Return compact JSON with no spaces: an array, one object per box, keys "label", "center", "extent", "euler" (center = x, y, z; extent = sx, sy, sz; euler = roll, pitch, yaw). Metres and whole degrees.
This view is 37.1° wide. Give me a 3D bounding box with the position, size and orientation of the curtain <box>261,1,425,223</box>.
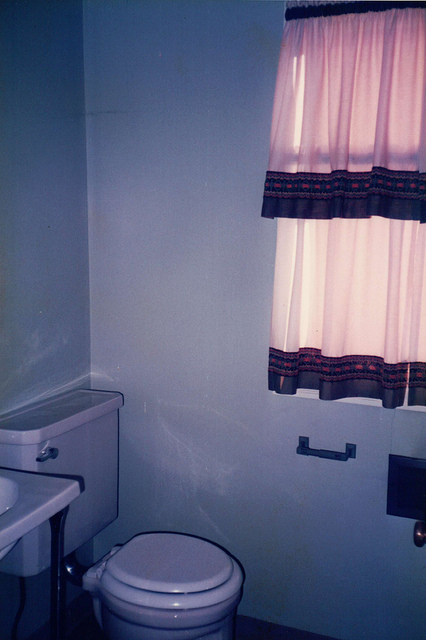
[{"label":"curtain","center":[0.408,-0.614,1.901],"extent":[0.446,0.776,0.068],"euler":[2,1,13]}]
